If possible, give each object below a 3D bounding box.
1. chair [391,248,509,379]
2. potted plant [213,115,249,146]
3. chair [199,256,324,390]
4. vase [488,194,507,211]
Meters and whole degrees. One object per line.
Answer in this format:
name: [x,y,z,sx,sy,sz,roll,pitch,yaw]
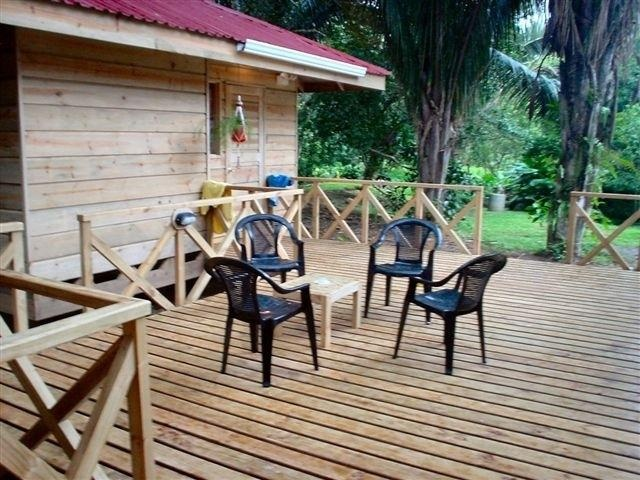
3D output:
chair: [1.059,0.524,3.772,0.631,0.950,0.638,17,20,41]
potted plant: [-1.371,-1.653,7.064,0.707,0.431,0.529,0,12,-4]
chair: [-0.443,0.558,3.584,0.619,0.938,0.722,-11,21,-43]
vase: [5.166,-1.090,13.550,0.723,0.483,0.560,3,4,5]
